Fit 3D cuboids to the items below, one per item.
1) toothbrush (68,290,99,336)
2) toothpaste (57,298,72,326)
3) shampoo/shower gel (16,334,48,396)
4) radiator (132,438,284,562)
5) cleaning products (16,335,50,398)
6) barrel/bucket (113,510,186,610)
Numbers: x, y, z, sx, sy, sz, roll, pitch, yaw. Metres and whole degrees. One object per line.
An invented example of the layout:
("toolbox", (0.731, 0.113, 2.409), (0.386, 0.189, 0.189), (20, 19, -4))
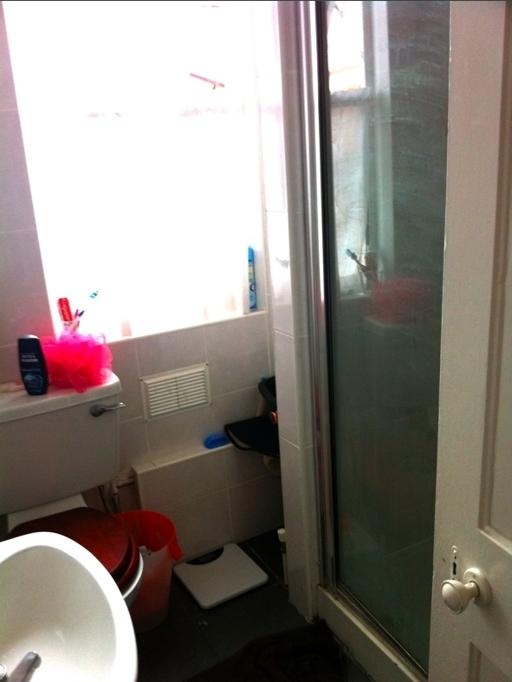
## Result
("toothbrush", (-0.537, -0.077, 1.759), (0.089, 0.116, 0.256), (-10, 21, -10))
("toothpaste", (-0.587, -0.092, 1.709), (0.036, 0.076, 0.064), (-12, 6, -4))
("shampoo/shower gel", (-0.630, 0.064, 1.588), (0.068, 0.181, 0.060), (16, 23, 22))
("radiator", (-0.202, 0.553, 2.219), (0.589, 0.399, 0.429), (-9, 22, -28))
("cleaning products", (-0.627, 0.068, 1.615), (0.079, 0.183, 0.078), (1, 9, 34))
("barrel/bucket", (-0.340, 0.653, 1.824), (0.177, 0.368, 0.187), (-3, 11, 1))
